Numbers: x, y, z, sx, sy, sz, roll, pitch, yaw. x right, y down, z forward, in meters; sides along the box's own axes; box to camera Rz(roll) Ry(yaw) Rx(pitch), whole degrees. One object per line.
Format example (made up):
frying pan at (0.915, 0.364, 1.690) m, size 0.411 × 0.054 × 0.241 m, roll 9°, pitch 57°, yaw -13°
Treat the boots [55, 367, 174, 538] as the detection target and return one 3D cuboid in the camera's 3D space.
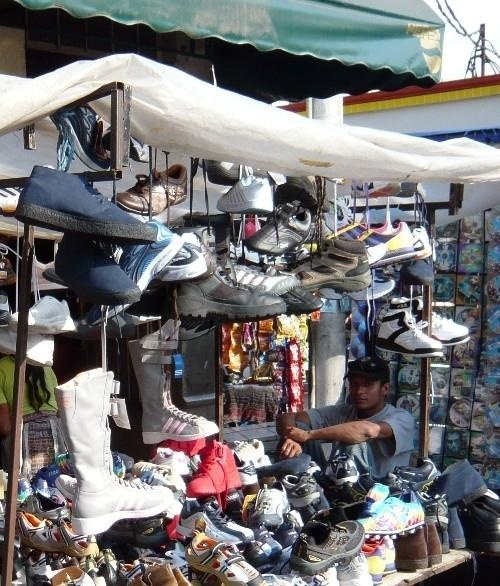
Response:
boots at (-0.392, 0.455, 2.151) m, size 0.163 × 0.404 × 0.372 m, roll -1°, pitch 1°, yaw 20°
